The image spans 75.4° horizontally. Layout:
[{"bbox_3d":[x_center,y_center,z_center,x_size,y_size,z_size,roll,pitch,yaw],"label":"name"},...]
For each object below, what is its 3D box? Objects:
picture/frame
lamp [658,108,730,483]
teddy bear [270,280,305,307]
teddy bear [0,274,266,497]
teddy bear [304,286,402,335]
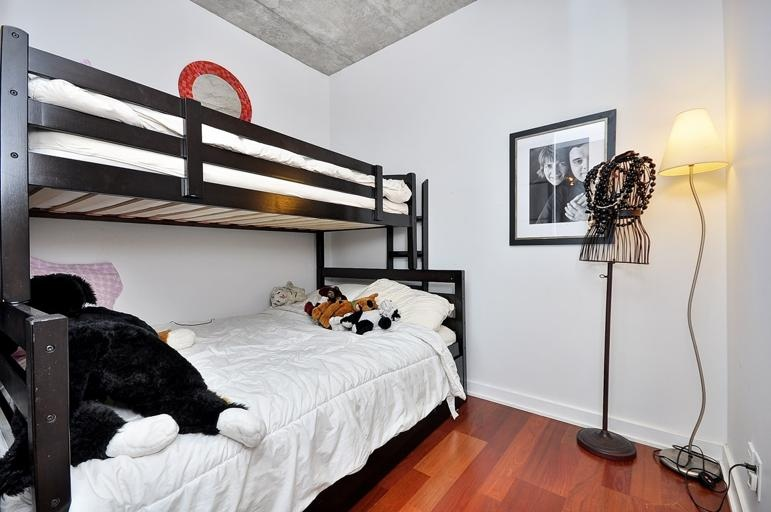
[{"bbox_3d":[1.266,-0.548,3.478,1.017,1.162,0.043,-3,-2,43],"label":"picture/frame"},{"bbox_3d":[1.883,0.220,3.069,0.349,2.213,0.388,1,5,34],"label":"lamp"},{"bbox_3d":[-0.843,0.333,4.391,0.210,0.090,0.251,8,6,10],"label":"teddy bear"},{"bbox_3d":[-1.268,0.608,2.462,1.107,0.476,0.911,14,11,35],"label":"teddy bear"},{"bbox_3d":[-0.248,0.418,3.720,0.502,0.198,0.358,5,0,35],"label":"teddy bear"}]
